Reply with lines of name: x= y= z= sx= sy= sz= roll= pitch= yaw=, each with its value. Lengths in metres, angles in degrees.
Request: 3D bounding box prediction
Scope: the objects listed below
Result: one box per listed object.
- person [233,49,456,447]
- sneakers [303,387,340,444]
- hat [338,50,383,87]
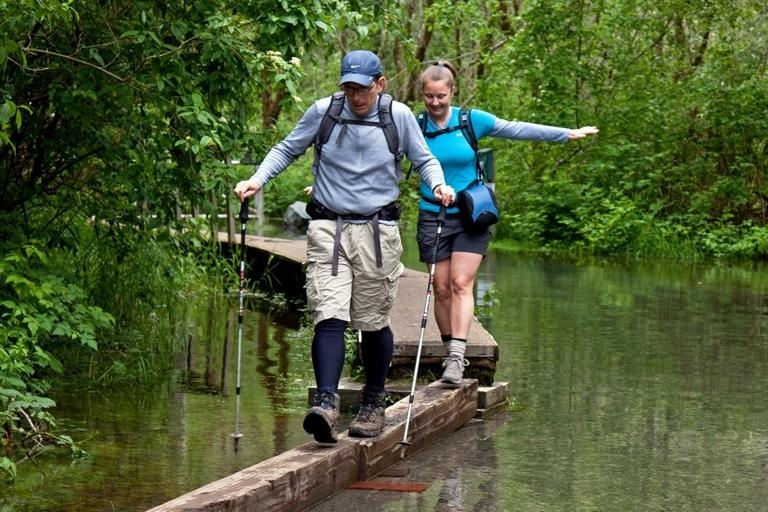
person: x=-0.229 y=-0.112 z=7.549 sx=1.311 sy=2.832 sz=1.072 roll=-6 pitch=12 yaw=-33
sneakers: x=-0.440 y=1.166 z=7.162 sx=0.205 sy=0.383 sz=0.299 roll=2 pitch=10 yaw=8
hat: x=-0.177 y=-1.402 z=7.395 sx=0.310 sy=0.225 sz=0.441 roll=10 pitch=27 yaw=20
